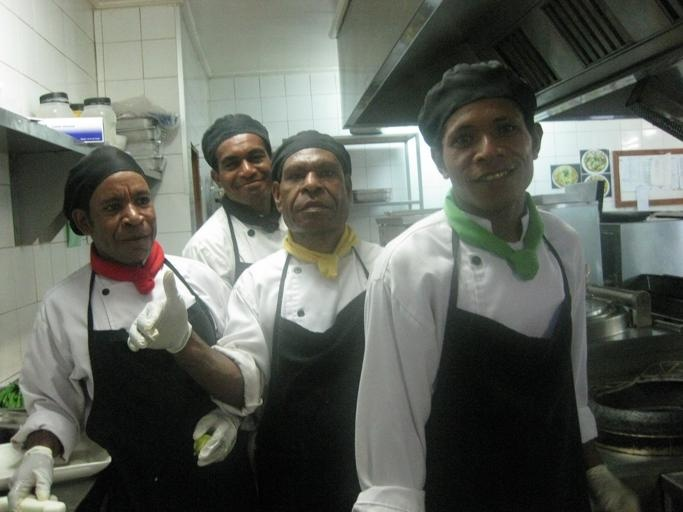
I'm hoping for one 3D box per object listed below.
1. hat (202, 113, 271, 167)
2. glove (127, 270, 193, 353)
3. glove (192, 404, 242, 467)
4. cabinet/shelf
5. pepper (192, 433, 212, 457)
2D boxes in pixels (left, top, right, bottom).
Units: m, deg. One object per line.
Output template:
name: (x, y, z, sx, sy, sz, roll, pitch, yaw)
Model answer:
hat: (-0.452, -0.473, 2.846, 0.248, 0.223, 0.221, -11, -6, -2)
glove: (-0.548, 0.168, 2.010, 0.170, 0.271, 0.112, -1, -4, 25)
glove: (-0.385, 0.564, 2.084, 0.078, 0.187, 0.132, 23, -46, -23)
cabinet/shelf: (0.341, -0.793, 5.641, 0.729, 0.805, 0.586, 0, -2, -1)
pepper: (-0.428, 0.588, 2.038, 0.023, 0.071, 0.048, 32, -43, -29)
